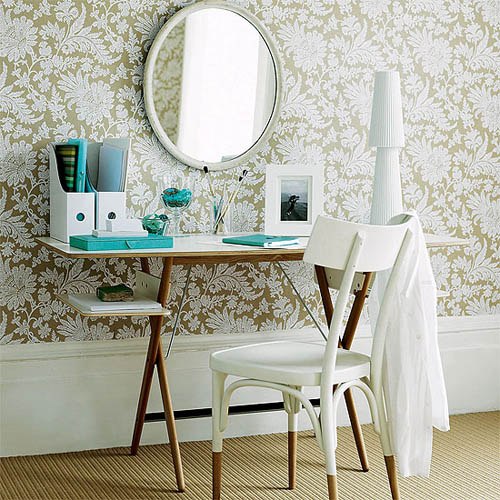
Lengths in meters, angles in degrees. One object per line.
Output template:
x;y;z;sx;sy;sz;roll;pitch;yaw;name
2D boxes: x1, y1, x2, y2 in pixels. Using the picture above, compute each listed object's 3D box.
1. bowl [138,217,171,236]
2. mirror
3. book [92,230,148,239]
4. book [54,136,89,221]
-0.321;-0.087;1.676;0.072;0.054;0.078;1;-8;0;bowl
-0.164;-0.677;1.950;0.655;0.836;0.061;-2;6;-28;mirror
-0.376;-0.047;1.446;0.159;0.019;0.065;-1;13;-16;book
-0.584;-0.252;1.635;0.053;0.233;0.234;-2;6;-31;book
